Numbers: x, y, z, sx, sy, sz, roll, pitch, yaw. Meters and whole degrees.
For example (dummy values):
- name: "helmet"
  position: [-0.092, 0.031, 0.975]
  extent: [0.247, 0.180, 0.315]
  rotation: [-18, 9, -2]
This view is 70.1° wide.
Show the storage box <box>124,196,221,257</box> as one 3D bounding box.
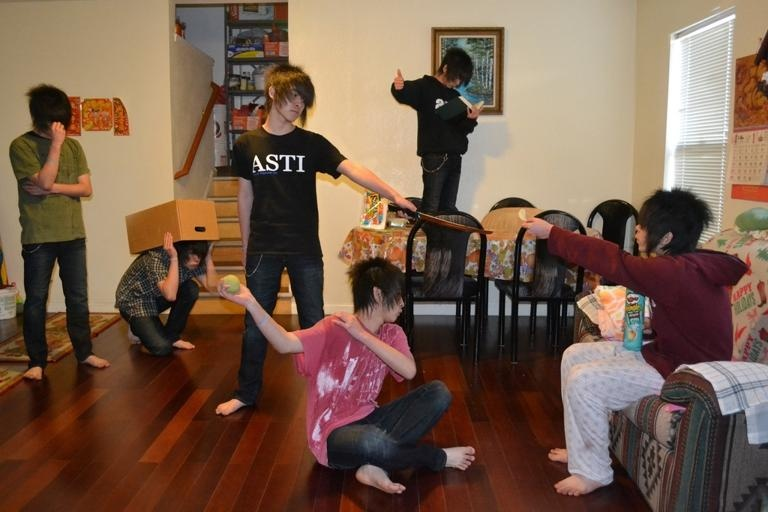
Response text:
- name: "storage box"
  position: [-1.699, -0.263, 4.453]
  extent: [0.771, 0.386, 0.429]
  rotation: [-6, 14, 37]

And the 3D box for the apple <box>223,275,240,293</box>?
- name: "apple"
  position: [-0.709, 0.132, 2.590]
  extent: [0.075, 0.080, 0.082]
  rotation: [20, -15, -6]

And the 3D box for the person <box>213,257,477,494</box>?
- name: "person"
  position: [-0.168, 0.626, 2.946]
  extent: [1.368, 1.162, 0.781]
  rotation: [-3, -4, 4]

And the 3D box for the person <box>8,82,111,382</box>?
- name: "person"
  position: [-2.414, -0.170, 4.052]
  extent: [0.552, 2.130, 0.391]
  rotation: [-4, 8, -32]
